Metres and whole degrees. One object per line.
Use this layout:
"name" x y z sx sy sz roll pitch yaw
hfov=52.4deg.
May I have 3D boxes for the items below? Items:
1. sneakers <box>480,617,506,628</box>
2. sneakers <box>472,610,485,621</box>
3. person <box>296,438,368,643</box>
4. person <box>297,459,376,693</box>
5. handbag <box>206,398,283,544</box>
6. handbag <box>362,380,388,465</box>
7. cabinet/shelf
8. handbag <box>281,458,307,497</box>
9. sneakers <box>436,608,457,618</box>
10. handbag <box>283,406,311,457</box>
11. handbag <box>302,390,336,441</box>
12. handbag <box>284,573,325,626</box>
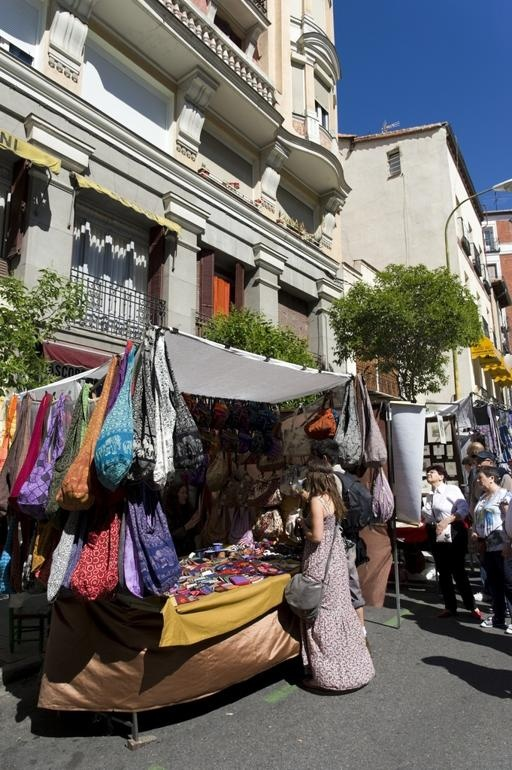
"sneakers" 2.443 2.463 5.394 0.245 0.099 0.201 -6 -12 24
"sneakers" 2.470 2.554 5.822 0.108 0.087 0.190 6 -6 -4
"person" 0.702 1.362 4.657 0.595 1.764 0.471 -4 5 13
"person" 0.573 1.412 3.887 0.487 1.594 0.331 -1 -11 5
"handbag" -0.183 1.074 6.559 1.049 1.626 0.454 2 -9 26
"handbag" 1.204 0.413 5.437 0.205 0.897 0.198 -14 -24 26
"cabinet/shelf" -0.450 1.573 3.458 0.769 0.555 1.375 -4 -6 39
"handbag" 0.468 1.084 6.176 0.268 0.375 0.141 6 -26 37
"sneakers" 2.150 2.581 5.904 0.247 0.121 0.090 3 -7 1
"handbag" 0.536 0.614 6.721 0.264 0.713 0.495 8 -12 -35
"handbag" 0.760 0.376 6.295 0.256 0.568 0.405 32 -29 -17
"handbag" 0.339 1.548 3.831 0.229 0.306 0.164 21 23 27
